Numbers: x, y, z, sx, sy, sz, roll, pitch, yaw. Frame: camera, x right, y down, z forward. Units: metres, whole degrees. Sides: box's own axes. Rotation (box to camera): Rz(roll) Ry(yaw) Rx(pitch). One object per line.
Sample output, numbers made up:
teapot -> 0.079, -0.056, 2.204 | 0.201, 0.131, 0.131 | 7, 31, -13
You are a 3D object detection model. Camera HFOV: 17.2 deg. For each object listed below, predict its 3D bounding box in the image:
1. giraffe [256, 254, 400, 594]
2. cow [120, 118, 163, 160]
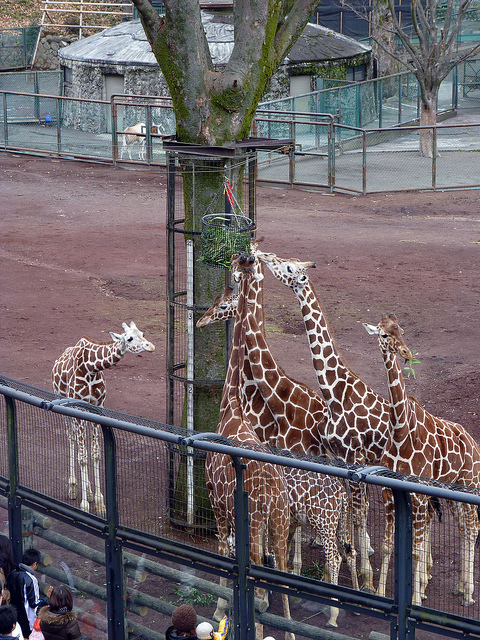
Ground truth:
giraffe -> 0.855, 0.912, 13.330 | 0.856, 2.814, 1.082 | -2, 8, -15
cow -> -2.017, -3.599, 31.967 | 1.009, 0.799, 0.291 | -2, 1, -31
